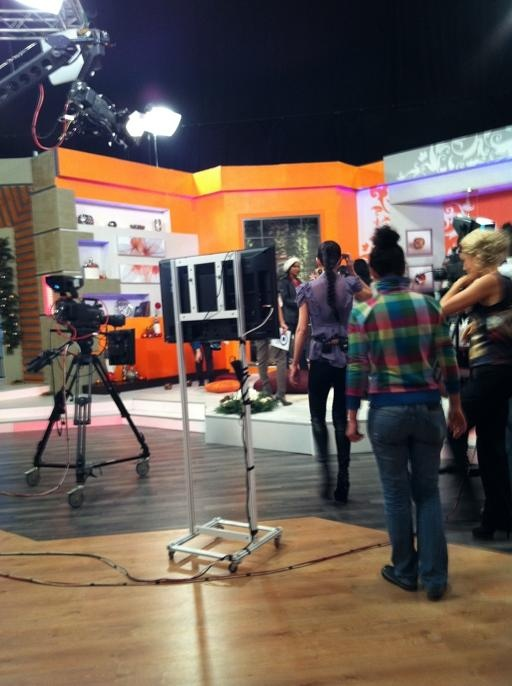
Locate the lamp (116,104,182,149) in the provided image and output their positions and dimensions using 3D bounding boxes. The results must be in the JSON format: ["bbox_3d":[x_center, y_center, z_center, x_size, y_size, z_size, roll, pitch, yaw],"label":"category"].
[{"bbox_3d":[-1.679,-3.508,9.251,0.444,0.526,1.159,-3,1,29],"label":"lamp"}]

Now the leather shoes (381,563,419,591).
[{"bbox_3d":[0.547,0.872,2.189,0.050,0.049,0.126,-2,8,-22],"label":"leather shoes"}]
